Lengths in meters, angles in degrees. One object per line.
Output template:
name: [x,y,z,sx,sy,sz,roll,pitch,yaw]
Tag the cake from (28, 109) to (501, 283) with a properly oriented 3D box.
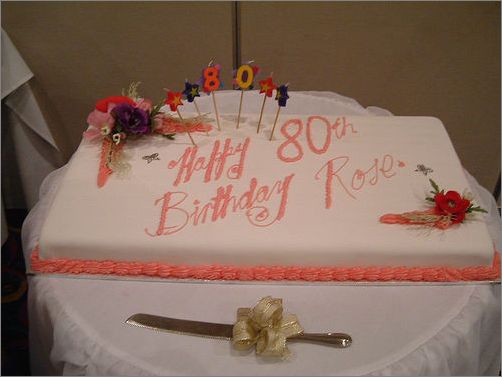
cake: [0.008,0.101,2.191,1.928,0.219,1.081,0,46,2]
